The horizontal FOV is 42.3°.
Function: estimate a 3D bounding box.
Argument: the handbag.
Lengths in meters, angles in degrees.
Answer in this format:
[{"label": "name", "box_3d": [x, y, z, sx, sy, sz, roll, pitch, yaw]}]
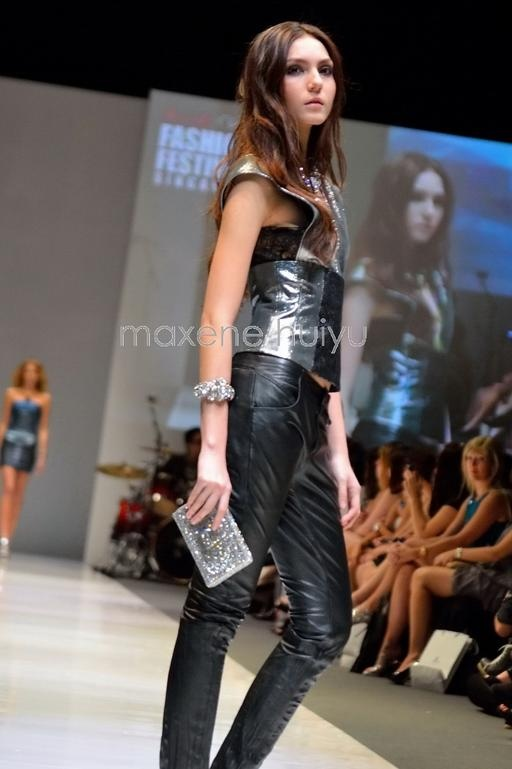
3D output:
[{"label": "handbag", "box_3d": [0.416, 0.630, 1.512, 0.057, 0.148, 0.146, 35, -10, -16]}]

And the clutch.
[{"label": "clutch", "box_3d": [-0.056, 0.205, 0.874, 0.083, 0.117, 0.028, -32, -10, -1]}]

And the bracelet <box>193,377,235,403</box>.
[{"label": "bracelet", "box_3d": [-0.052, 0.014, 0.855, 0.045, 0.028, 0.020, -1, 0, -8]}]
